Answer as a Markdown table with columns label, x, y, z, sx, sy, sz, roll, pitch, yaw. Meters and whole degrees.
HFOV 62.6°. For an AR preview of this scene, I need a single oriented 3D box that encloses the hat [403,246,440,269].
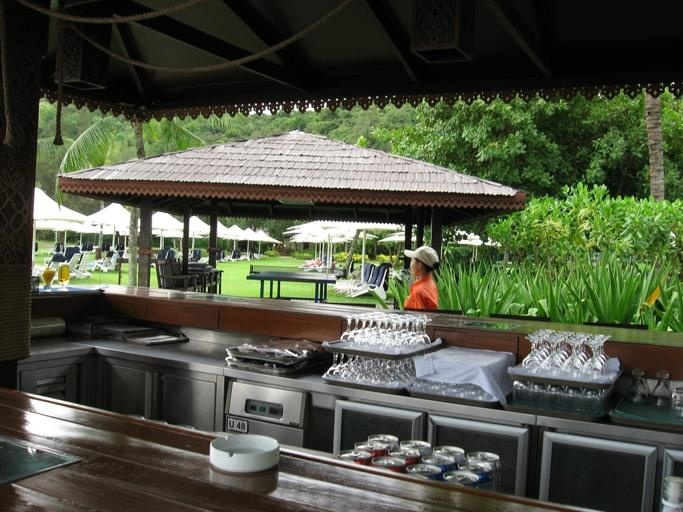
| label | x | y | z | sx | sy | sz | roll | pitch | yaw |
| --- | --- | --- | --- | --- | --- | --- | --- | --- | --- |
| hat | 0.761 | -0.033 | 5.283 | 0.282 | 0.151 | 0.183 | 35 | 26 | 12 |

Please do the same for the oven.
| label | x | y | z | sx | sy | sz | roll | pitch | yaw |
| --- | --- | --- | --- | --- | --- | --- | --- | --- | --- |
| oven | -0.547 | 1.087 | 3.618 | 0.542 | 0.419 | 0.295 | 18 | -38 | -27 |

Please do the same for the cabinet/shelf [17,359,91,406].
| label | x | y | z | sx | sy | sz | roll | pitch | yaw |
| --- | --- | --- | --- | --- | --- | --- | --- | --- | --- |
| cabinet/shelf | -2.089 | 0.882 | 4.074 | 0.279 | 0.436 | 0.444 | -6 | -6 | 35 |

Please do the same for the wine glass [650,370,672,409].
| label | x | y | z | sx | sy | sz | roll | pitch | yaw |
| --- | --- | --- | --- | --- | --- | --- | --- | --- | --- |
| wine glass | 1.780 | 0.720 | 3.111 | 0.102 | 0.169 | 0.156 | -1 | 8 | 29 |

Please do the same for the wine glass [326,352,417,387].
| label | x | y | z | sx | sy | sz | roll | pitch | yaw |
| --- | --- | --- | --- | --- | --- | --- | --- | --- | --- |
| wine glass | 0.164 | 0.685 | 3.344 | 0.304 | 0.099 | 0.268 | 1 | 4 | 20 |
